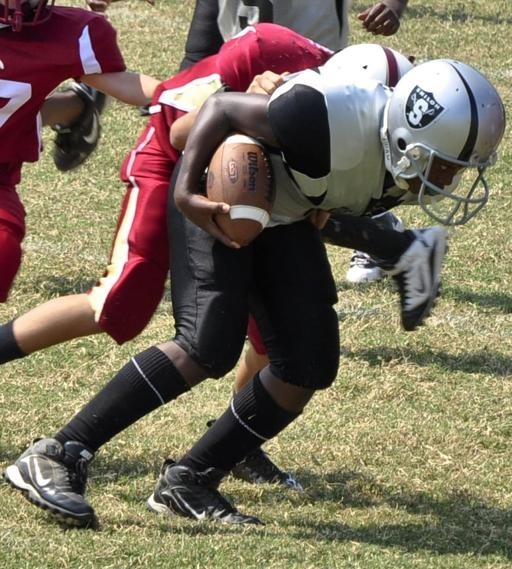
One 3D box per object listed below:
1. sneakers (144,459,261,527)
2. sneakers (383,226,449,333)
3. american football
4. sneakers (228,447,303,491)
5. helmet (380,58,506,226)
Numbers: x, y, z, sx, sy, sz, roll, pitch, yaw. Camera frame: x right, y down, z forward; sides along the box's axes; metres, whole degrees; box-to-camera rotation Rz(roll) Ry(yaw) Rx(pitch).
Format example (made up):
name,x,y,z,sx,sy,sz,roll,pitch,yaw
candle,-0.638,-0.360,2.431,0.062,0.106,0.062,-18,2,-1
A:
name,x,y,z,sx,sy,sz,roll,pitch,yaw
sneakers,-0.112,0.663,1.991,0.441,0.134,0.167,13,92,-1
sneakers,0.593,-0.035,2.443,0.253,0.399,0.154,7,6,-5
american football,-0.024,-0.249,1.686,0.195,0.182,0.251,-7,85,9
sneakers,0.089,0.678,2.379,0.352,0.119,0.109,9,12,6
helmet,0.449,-0.304,1.560,0.287,0.449,0.308,4,49,9
